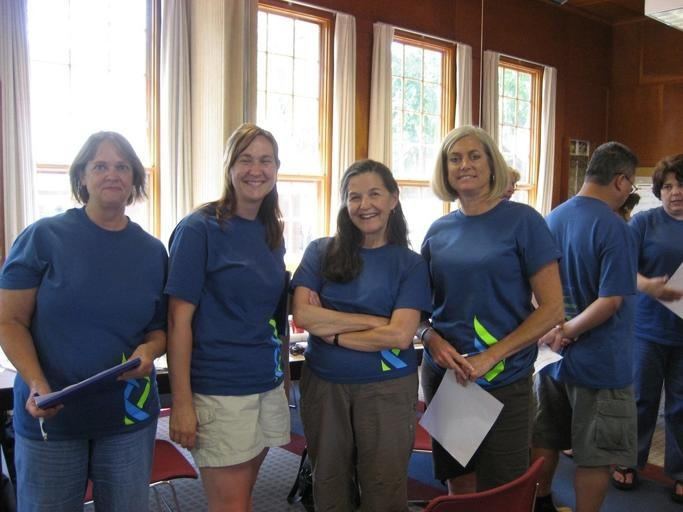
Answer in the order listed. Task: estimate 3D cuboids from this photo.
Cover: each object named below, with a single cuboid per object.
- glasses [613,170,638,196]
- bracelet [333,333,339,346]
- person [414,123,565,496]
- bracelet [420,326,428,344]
[{"bbox_3d":[1.625,-0.419,3.513,0.037,0.132,0.119,1,2,-25],"label":"glasses"},{"bbox_3d":[-0.028,0.398,2.915,0.032,0.046,0.017,-2,-1,10],"label":"bracelet"},{"bbox_3d":[0.728,0.325,3.060,0.710,1.945,0.460,1,8,20],"label":"person"},{"bbox_3d":[0.417,0.404,3.151,0.025,0.074,0.053,10,18,-7],"label":"bracelet"}]
